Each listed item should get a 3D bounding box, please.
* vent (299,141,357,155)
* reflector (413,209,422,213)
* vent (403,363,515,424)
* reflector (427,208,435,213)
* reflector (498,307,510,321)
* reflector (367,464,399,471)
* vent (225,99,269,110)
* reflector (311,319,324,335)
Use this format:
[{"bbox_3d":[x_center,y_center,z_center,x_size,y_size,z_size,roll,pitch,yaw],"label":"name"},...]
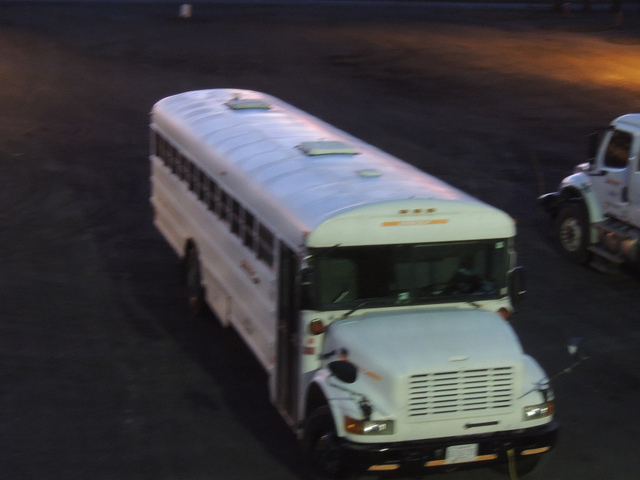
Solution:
[{"bbox_3d":[0.094,-1.399,11.678,0.773,0.109,0.661,-6,23,-15],"label":"vent"},{"bbox_3d":[1.224,-0.366,9.730,0.116,0.039,0.042,-1,27,-3],"label":"reflector"},{"bbox_3d":[1.672,1.863,9.249,0.090,0.678,1.811,20,-24,-33],"label":"vent"},{"bbox_3d":[1.397,-0.371,9.761,0.092,0.040,0.040,-2,27,-2],"label":"reflector"},{"bbox_3d":[2.394,0.966,10.150,0.126,0.049,0.170,-22,66,-31],"label":"reflector"},{"bbox_3d":[0.755,2.681,9.176,0.356,0.080,0.017,-2,32,-3],"label":"reflector"},{"bbox_3d":[-1.300,-2.442,13.962,0.757,0.084,0.808,-3,22,-7],"label":"vent"},{"bbox_3d":[-0.029,1.076,9.681,0.157,0.185,0.081,-2,31,-1],"label":"reflector"}]
